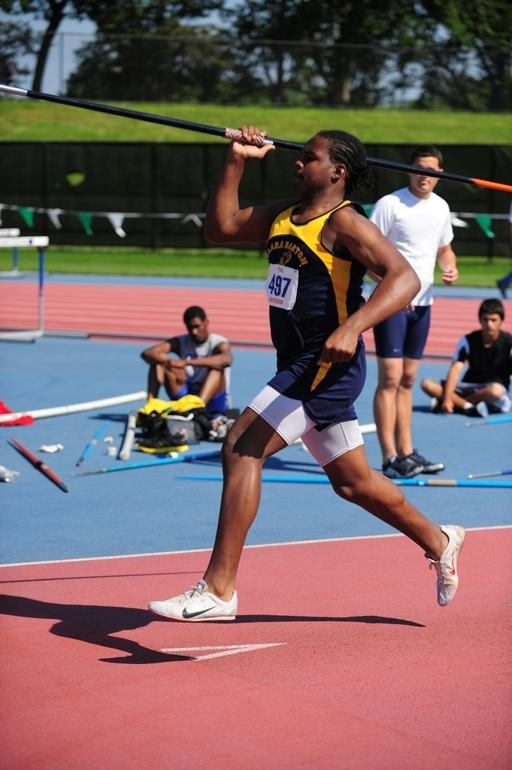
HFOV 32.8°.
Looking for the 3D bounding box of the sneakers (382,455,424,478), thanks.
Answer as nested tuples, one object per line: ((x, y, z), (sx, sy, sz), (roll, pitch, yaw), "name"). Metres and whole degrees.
((0.826, 0.467, 4.953), (0.264, 0.100, 0.097), (-7, -6, 41), "sneakers")

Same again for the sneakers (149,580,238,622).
((-0.182, 0.677, 2.720), (0.359, 0.120, 0.108), (3, -6, -8), "sneakers")

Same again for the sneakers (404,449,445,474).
((0.982, 0.451, 5.061), (0.329, 0.109, 0.099), (5, 1, -14), "sneakers")

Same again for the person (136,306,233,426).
((-0.349, -0.160, 6.359), (0.869, 0.821, 0.813), (2, -8, 23), "person")

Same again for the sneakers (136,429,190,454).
((-0.592, 0.369, 5.507), (0.306, 0.102, 0.113), (6, -6, -12), "sneakers")

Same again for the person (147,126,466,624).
((0.184, 0.000, 2.820), (1.034, 1.688, 0.734), (1, 10, -5), "person")

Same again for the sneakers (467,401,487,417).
((1.785, 0.186, 6.997), (0.148, 0.127, 0.289), (4, 9, 14), "sneakers")

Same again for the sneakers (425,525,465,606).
((0.677, 0.624, 3.093), (0.146, 0.295, 0.111), (11, -6, -24), "sneakers")
